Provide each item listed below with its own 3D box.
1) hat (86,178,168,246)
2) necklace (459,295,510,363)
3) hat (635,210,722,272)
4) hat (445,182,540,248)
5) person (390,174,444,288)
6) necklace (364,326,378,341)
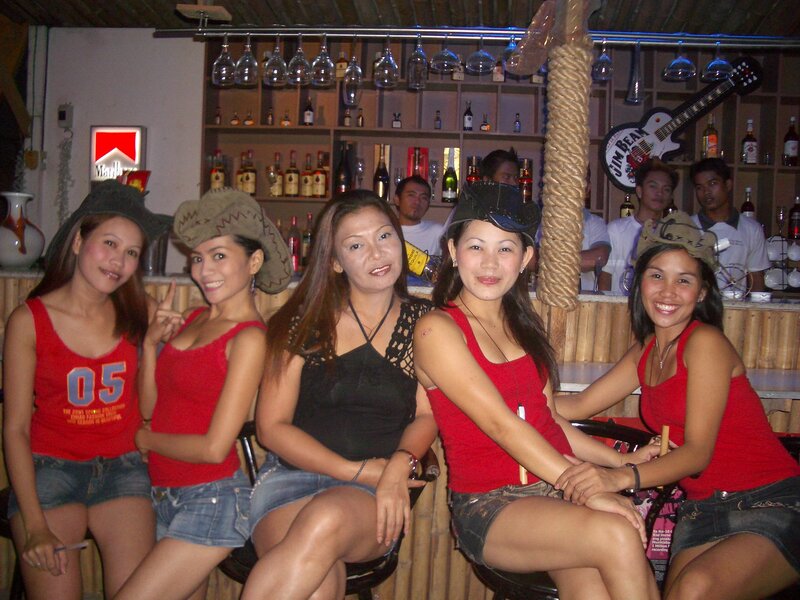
[{"bbox_3d":[-1.090,-0.341,2.787,0.250,0.126,0.289,4,0,23],"label":"hat"},{"bbox_3d":[0.310,0.112,2.467,0.087,0.015,0.341,-9,55,-53],"label":"necklace"},{"bbox_3d":[1.104,-0.257,2.782,0.246,0.164,0.315,15,1,24],"label":"hat"},{"bbox_3d":[0.356,-0.354,2.527,0.326,0.167,0.317,15,6,33],"label":"hat"},{"bbox_3d":[0.148,-0.484,5.229,0.418,1.119,0.278,8,41,7],"label":"person"},{"bbox_3d":[-0.115,0.125,2.555,0.062,0.045,0.021,0,-16,-2],"label":"necklace"}]
